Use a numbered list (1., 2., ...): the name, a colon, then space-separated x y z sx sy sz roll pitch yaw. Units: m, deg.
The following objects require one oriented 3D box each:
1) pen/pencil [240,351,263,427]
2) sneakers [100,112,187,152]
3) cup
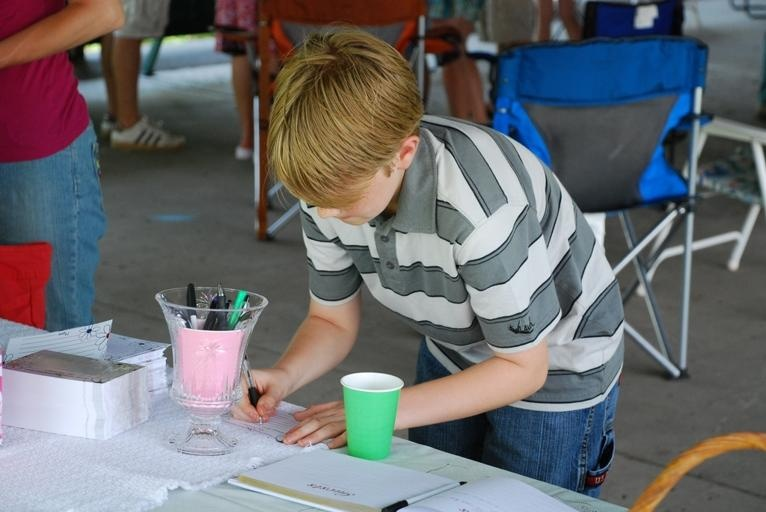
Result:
1. pen/pencil: -0.257 0.252 1.523 0.021 0.199 0.021 -7 -5 -12
2. sneakers: -1.194 -0.653 4.009 0.458 0.203 0.157 -4 26 -12
3. cup: -0.022 0.287 1.466 0.136 0.147 0.139 0 6 0
